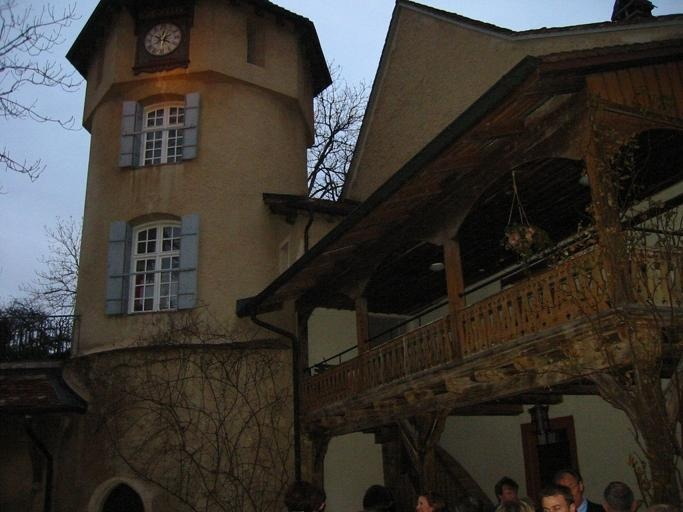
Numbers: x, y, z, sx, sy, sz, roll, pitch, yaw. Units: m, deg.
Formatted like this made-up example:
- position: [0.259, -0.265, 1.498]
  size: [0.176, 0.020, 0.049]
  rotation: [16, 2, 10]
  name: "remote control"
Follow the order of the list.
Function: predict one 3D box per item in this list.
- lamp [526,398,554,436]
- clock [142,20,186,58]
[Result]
- position: [3.895, 3.213, 15.867]
  size: [0.377, 0.571, 0.344]
  rotation: [-8, -14, 16]
  name: "lamp"
- position: [-4.112, -5.007, 18.691]
  size: [0.775, 0.831, 0.085]
  rotation: [-16, -20, 9]
  name: "clock"
